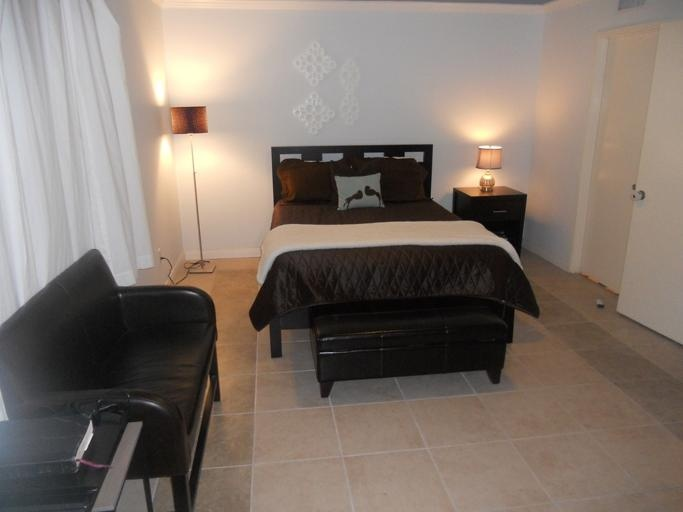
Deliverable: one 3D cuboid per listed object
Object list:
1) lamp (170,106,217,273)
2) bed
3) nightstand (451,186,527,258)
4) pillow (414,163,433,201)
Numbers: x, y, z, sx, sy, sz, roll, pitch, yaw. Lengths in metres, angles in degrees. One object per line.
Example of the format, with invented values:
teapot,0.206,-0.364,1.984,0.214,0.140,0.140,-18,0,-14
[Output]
lamp,-1.562,-0.718,5.523,0.387,1.712,0.605,-6,19,-15
bed,0.270,-0.106,4.780,1.866,1.198,2.202,-3,26,-4
nightstand,1.696,-0.416,5.963,0.653,0.735,0.525,-4,23,-6
pillow,0.953,-0.842,5.872,0.088,0.405,0.363,6,3,9
